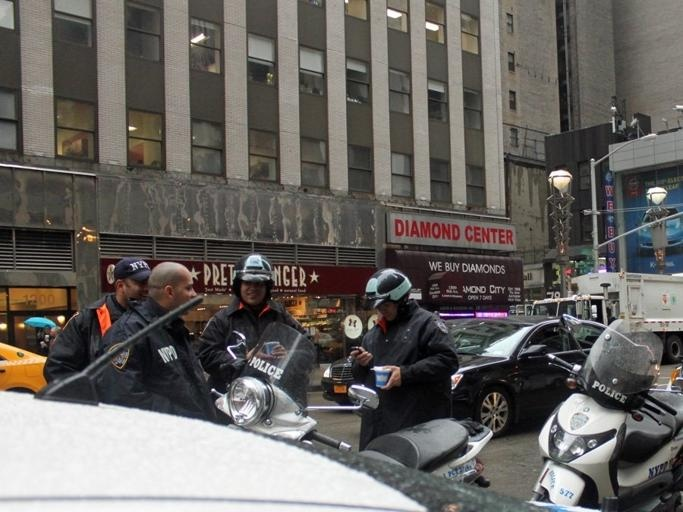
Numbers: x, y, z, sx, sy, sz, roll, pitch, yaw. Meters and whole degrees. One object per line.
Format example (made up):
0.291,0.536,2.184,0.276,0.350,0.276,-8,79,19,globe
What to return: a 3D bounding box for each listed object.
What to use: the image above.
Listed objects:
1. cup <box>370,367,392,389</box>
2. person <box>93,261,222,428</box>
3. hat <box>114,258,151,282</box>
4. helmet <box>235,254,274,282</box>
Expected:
0.402,1.260,9.746,0.213,0.186,0.182,5,-15,-4,cup
-1.738,1.110,9.155,1.005,1.992,1.399,-3,-4,19,person
-2.210,0.144,10.048,0.360,0.194,0.257,-8,4,19,hat
-0.974,0.133,10.403,0.419,0.327,0.308,-4,-4,-8,helmet
